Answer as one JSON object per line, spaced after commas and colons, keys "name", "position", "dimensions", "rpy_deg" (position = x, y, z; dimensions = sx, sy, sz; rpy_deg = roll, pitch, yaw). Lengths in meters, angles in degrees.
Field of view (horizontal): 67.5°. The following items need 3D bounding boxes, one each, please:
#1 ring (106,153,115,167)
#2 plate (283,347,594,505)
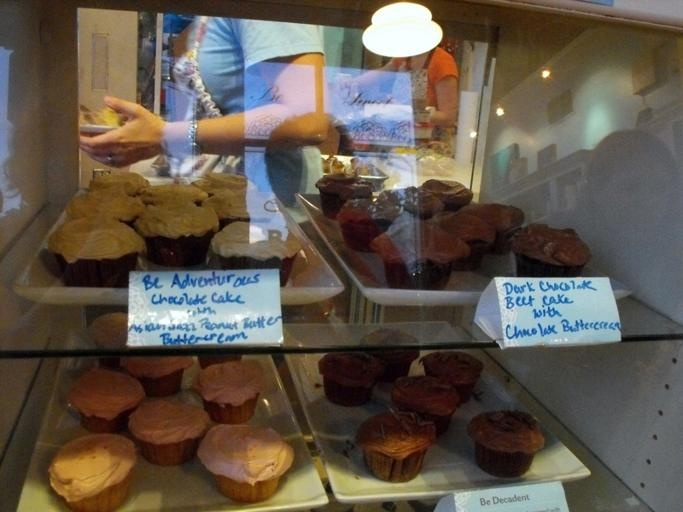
{"name": "ring", "position": [-0.517, -0.213, 1.139], "dimensions": [0.023, 0.022, 0.022], "rpy_deg": [6, 25, -3]}
{"name": "plate", "position": [0.240, 0.419, 1.404], "dimensions": [0.676, 0.234, 0.504], "rpy_deg": [-4, 18, -19]}
